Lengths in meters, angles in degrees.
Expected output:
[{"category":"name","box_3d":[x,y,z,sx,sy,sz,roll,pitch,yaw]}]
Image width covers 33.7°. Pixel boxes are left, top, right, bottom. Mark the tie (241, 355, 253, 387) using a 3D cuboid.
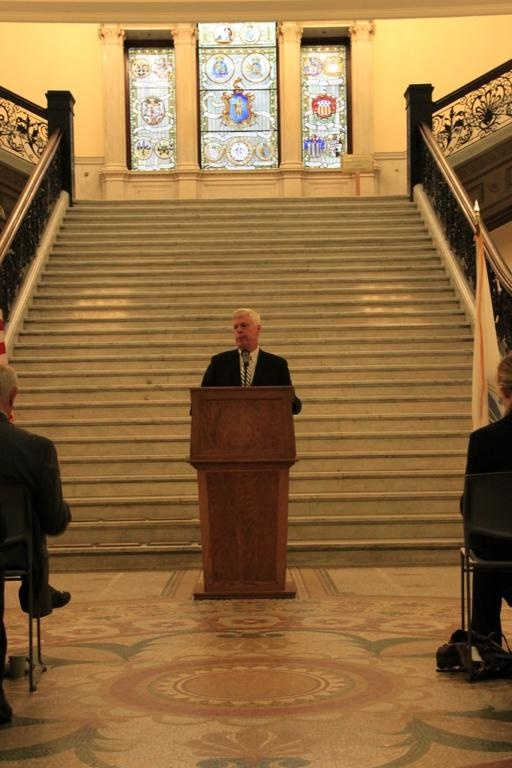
[{"category":"tie","box_3d":[-0.052,-0.073,4.631,0.046,0.180,0.054,-2,-15,-1]}]
